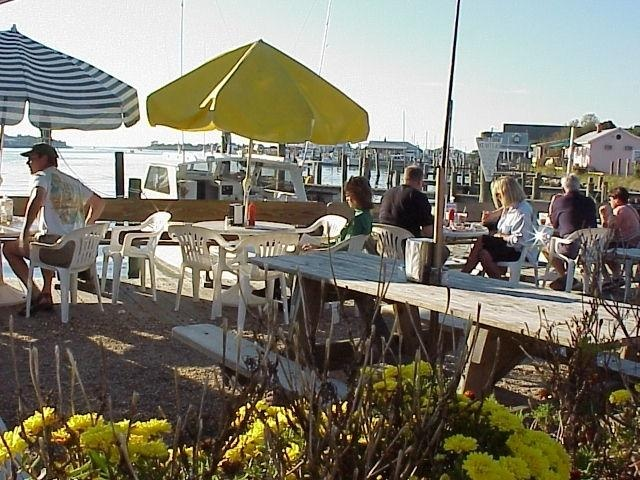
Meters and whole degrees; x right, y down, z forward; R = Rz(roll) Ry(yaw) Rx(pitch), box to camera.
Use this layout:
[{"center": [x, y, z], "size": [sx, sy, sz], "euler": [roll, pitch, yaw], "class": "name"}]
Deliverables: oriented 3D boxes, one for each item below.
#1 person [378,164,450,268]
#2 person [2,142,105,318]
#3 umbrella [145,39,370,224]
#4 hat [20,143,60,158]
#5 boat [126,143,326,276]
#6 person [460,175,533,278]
[{"center": [1.149, -0.208, 6.572], "size": [0.778, 1.433, 0.891], "euler": [-1, 10, -1], "class": "person"}, {"center": [-2.946, -0.139, 5.749], "size": [0.898, 1.821, 0.824], "euler": [0, 2, -14], "class": "person"}, {"center": [-0.585, -1.126, 5.584], "size": [1.399, 1.342, 1.393], "euler": [6, 10, 20], "class": "umbrella"}, {"center": [-2.980, -0.936, 5.530], "size": [0.285, 0.119, 0.187], "euler": [-1, 0, -34], "class": "hat"}, {"center": [-3.146, -1.238, 17.773], "size": [4.541, 2.945, 2.983], "euler": [0, 2, -30], "class": "boat"}, {"center": [2.254, -0.090, 6.561], "size": [0.867, 1.504, 0.741], "euler": [7, 9, 3], "class": "person"}]
